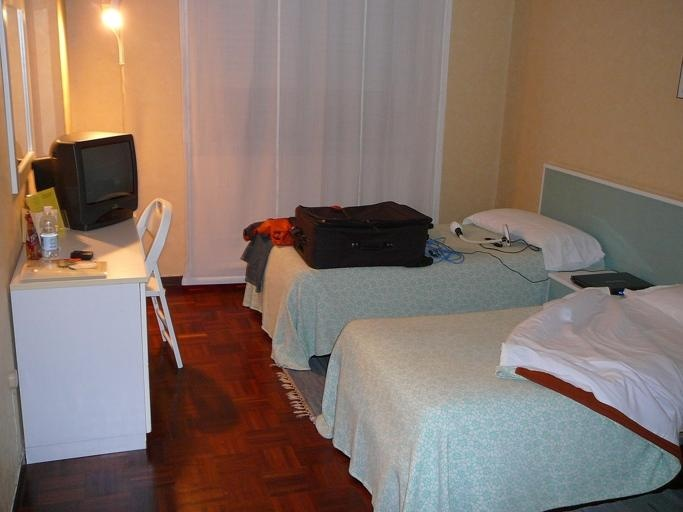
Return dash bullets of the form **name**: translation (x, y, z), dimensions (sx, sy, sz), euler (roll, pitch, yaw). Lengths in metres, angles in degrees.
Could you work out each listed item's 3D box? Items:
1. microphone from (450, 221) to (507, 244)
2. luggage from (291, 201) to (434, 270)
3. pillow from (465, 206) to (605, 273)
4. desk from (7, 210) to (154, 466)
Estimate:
- **microphone**: translation (1.087, -0.149, 3.985), dimensions (0.255, 0.074, 0.229), euler (0, 23, -1)
- **luggage**: translation (0.156, -0.118, 3.499), dimensions (0.597, 0.234, 0.614), euler (-4, 13, -16)
- **pillow**: translation (1.483, -0.147, 3.985), dimensions (0.402, 0.182, 0.710), euler (-13, 28, -22)
- **desk**: translation (-1.315, 0.456, 2.586), dimensions (0.543, 0.740, 1.447), euler (-2, 64, -9)
